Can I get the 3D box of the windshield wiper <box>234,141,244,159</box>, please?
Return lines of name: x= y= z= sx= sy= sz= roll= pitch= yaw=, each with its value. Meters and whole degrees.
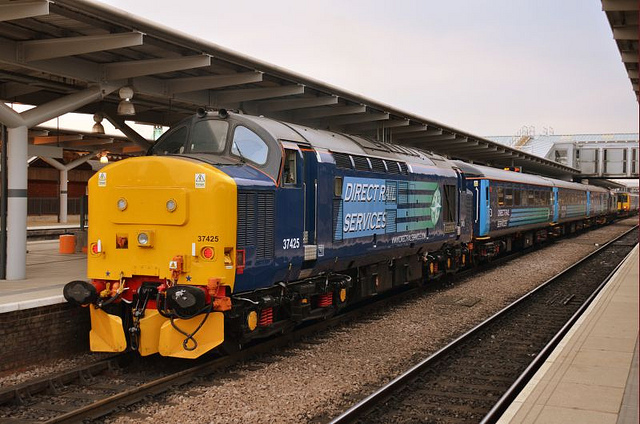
windshield wiper: x=-1.557 y=-1.171 z=9.178 sx=0.062 sy=0.251 sz=0.083 roll=-40 pitch=-17 yaw=11
